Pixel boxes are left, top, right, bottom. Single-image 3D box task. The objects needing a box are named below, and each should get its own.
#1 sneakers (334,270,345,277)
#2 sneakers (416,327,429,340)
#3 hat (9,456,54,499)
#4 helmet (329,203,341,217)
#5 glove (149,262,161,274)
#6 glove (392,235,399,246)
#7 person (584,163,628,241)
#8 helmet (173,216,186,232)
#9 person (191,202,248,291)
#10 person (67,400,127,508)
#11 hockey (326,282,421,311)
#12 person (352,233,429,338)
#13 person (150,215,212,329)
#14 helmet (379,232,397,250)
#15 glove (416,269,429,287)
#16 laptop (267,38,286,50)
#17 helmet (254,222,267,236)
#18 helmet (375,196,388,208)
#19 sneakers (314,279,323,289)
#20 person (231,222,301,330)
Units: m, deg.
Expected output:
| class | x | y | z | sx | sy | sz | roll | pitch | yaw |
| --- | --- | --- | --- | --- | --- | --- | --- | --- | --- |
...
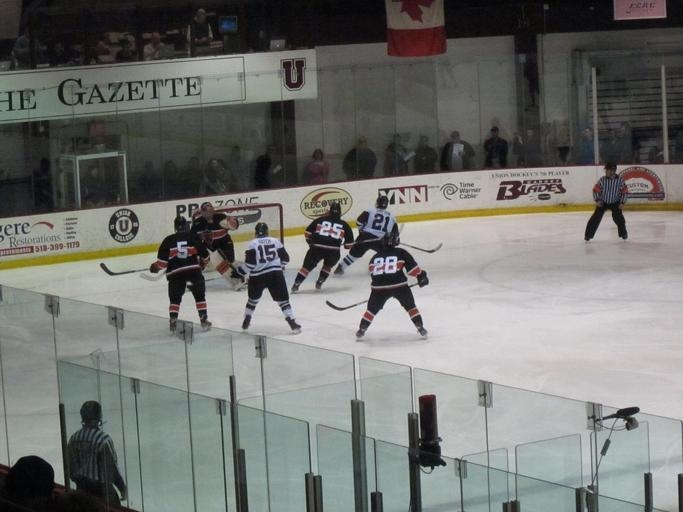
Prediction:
| class | x | y | z | sx | sy | sz | roll | pitch | yaw |
| --- | --- | --- | --- | --- | --- | --- | --- | --- | --- |
| sneakers | -0.068 | 0.276 | 17.336 | 0.094 | 0.076 | 0.116 | 0 | -1 | 34 |
| sneakers | 0.975 | 0.950 | 14.124 | 0.141 | 0.072 | 0.210 | 40 | -13 | 20 |
| hat | -2.505 | 1.798 | 9.156 | 0.282 | 0.183 | 0.358 | 13 | 28 | 2 |
| helmet | -0.124 | -0.651 | 16.300 | 0.139 | 0.211 | 0.263 | -2 | 3 | -6 |
| glove | -2.454 | 0.164 | 14.889 | 0.180 | 0.147 | 0.295 | 2 | -7 | -11 |
| glove | 0.627 | -0.181 | 13.885 | 0.062 | 0.116 | 0.112 | 5 | -7 | -34 |
| person | 4.267 | -0.863 | 18.652 | 0.786 | 1.263 | 0.544 | -2 | 3 | -11 |
| helmet | -2.109 | -0.413 | 14.778 | 0.185 | 0.224 | 0.230 | -1 | 44 | -10 |
| person | -1.879 | -0.126 | 16.854 | 0.689 | 1.200 | 0.814 | -24 | 0 | 5 |
| person | -2.245 | 1.792 | 10.343 | 0.485 | 0.937 | 0.283 | 1 | 4 | 38 |
| hockey | 0.402 | 0.561 | 15.052 | 1.068 | 0.148 | 0.143 | -18 | 26 | -37 |
| person | 0.584 | 0.445 | 14.960 | 1.191 | 1.613 | 0.946 | 1 | 26 | 9 |
| person | -2.071 | 0.213 | 14.609 | 0.688 | 1.371 | 0.671 | -2 | 3 | -9 |
| helmet | 0.541 | -0.174 | 13.891 | 0.173 | 0.185 | 0.215 | 3 | 17 | 7 |
| glove | 0.991 | 0.295 | 14.420 | 0.181 | 0.152 | 0.205 | -2 | 8 | 0 |
| laptop | -1.249 | -3.971 | 21.550 | 0.337 | 0.195 | 0.319 | 0 | -5 | -1 |
| helmet | -1.048 | -0.327 | 14.555 | 0.142 | 0.167 | 0.178 | 9 | -12 | -5 |
| helmet | 0.521 | -0.788 | 16.708 | 0.157 | 0.190 | 0.197 | 6 | 24 | 17 |
| sneakers | -0.362 | 0.424 | 16.544 | 0.107 | 0.149 | 0.095 | 20 | 8 | 7 |
| person | -0.954 | 0.288 | 14.583 | 0.735 | 1.387 | 0.610 | -2 | 3 | -6 |
